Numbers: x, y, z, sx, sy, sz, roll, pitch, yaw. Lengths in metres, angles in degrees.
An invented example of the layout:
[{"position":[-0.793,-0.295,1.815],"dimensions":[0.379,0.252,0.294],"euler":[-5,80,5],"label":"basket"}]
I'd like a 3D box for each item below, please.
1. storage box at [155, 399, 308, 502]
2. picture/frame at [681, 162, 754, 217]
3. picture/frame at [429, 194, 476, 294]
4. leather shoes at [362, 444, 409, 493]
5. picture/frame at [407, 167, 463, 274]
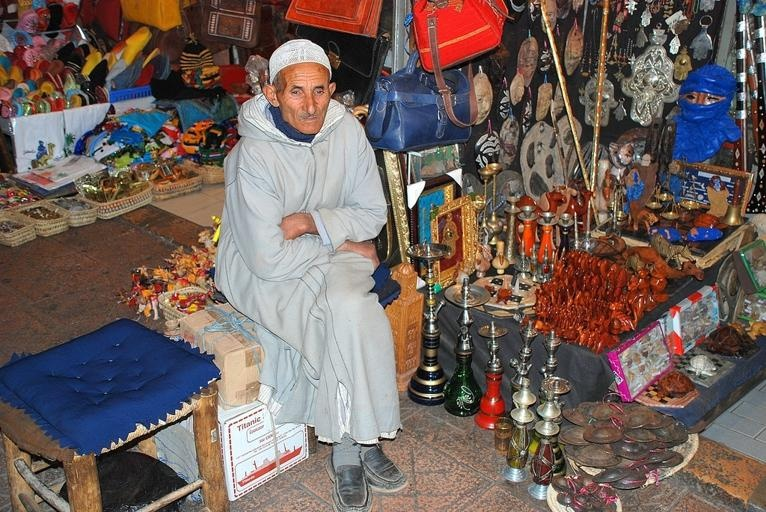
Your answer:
[{"position":[-1.045,1.029,3.864],"dimensions":[0.747,0.475,0.739],"euler":[-19,29,-33],"label":"storage box"},{"position":[3.252,-0.651,5.566],"dimensions":[0.065,0.354,0.569],"euler":[-9,24,-41],"label":"picture/frame"},{"position":[0.544,-0.101,4.625],"dimensions":[0.636,0.660,0.082],"euler":[-22,20,-36],"label":"picture/frame"},{"position":[-0.013,1.403,3.751],"dimensions":[0.158,0.152,0.380],"euler":[-15,23,-28],"label":"leather shoes"},{"position":[0.389,-0.271,4.604],"dimensions":[0.749,0.786,0.101],"euler":[-12,18,-41],"label":"picture/frame"}]
